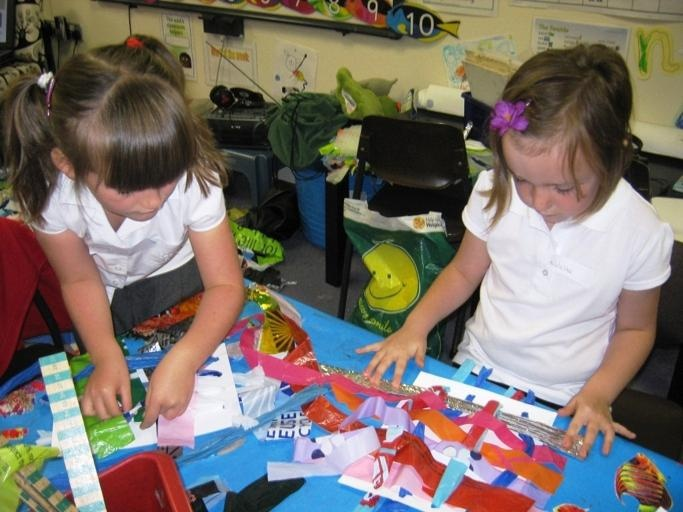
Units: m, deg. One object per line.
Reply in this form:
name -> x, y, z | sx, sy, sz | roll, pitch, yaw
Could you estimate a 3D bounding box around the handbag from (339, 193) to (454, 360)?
handbag -> 0.167, 0.053, 1.484 | 0.392, 0.529, 0.146 | 18, 40, 33
